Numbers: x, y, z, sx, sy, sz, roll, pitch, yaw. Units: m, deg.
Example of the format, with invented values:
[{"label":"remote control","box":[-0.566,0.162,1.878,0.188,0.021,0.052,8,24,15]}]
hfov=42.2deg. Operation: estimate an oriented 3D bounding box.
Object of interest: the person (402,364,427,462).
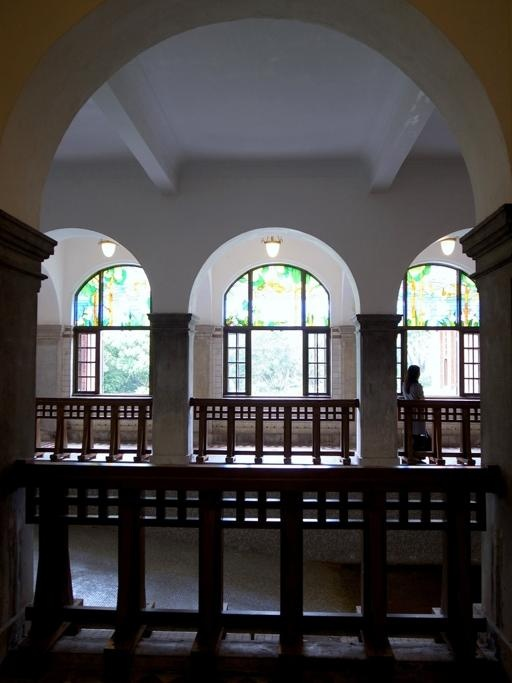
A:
[{"label":"person","box":[1.816,0.789,7.572,0.256,1.068,0.578,-3,-5,14]}]

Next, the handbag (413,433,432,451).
[{"label":"handbag","box":[1.868,1.125,7.463,0.144,0.209,0.177,3,2,9]}]
